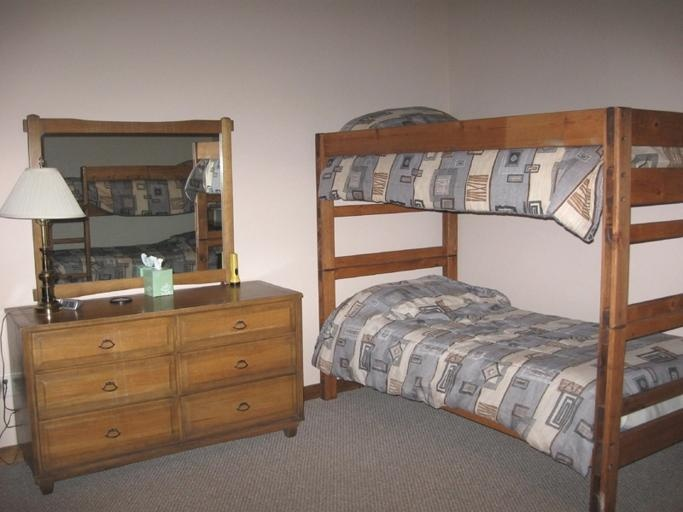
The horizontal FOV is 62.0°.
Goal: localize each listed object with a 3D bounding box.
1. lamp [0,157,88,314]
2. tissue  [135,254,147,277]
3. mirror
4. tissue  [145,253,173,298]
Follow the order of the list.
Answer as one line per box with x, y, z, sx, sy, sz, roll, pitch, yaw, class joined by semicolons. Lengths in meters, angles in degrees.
-1.805;-0.110;3.476;0.441;0.846;0.400;-7;14;-23;lamp
-1.369;0.062;3.859;0.103;0.120;0.129;0;24;-6;tissue 
-1.456;-0.317;3.776;1.429;1.155;0.454;-4;6;-30;mirror
-1.228;0.142;3.786;0.182;0.308;0.245;-10;18;-37;tissue 
